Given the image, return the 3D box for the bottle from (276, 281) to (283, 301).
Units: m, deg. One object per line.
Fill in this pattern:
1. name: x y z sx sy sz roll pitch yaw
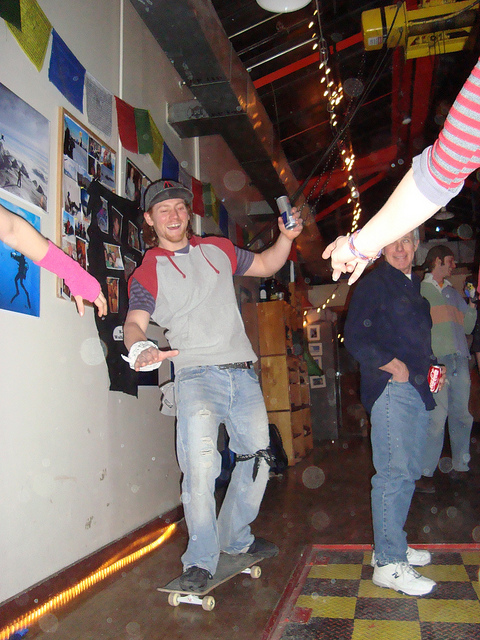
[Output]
1. bottle: 0.543 -0.408 6.751 0.093 0.288 0.200 -6 -9 7

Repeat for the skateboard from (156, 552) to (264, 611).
1. skateboard: -0.101 1.071 2.041 0.232 0.092 0.479 -12 -12 35

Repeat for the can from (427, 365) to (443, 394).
1. can: 0.815 0.242 2.090 0.033 0.132 0.077 8 7 34

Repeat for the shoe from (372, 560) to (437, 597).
1. shoe: 0.603 0.953 1.821 0.225 0.116 0.095 -18 -25 38

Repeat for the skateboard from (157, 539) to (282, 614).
1. skateboard: -0.099 1.064 2.045 0.255 0.113 0.481 -11 -11 32

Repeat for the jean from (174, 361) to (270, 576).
1. jean: -0.076 0.633 2.183 0.429 0.923 0.251 -3 -3 -12

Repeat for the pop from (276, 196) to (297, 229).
1. pop: 0.226 -0.508 2.344 0.079 0.192 0.128 -5 -9 6

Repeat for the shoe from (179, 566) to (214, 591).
1. shoe: -0.169 0.988 1.881 0.124 0.071 0.088 -4 -10 -7

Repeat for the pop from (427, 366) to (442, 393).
1. pop: 0.821 0.244 2.078 0.031 0.127 0.074 4 0 -15
